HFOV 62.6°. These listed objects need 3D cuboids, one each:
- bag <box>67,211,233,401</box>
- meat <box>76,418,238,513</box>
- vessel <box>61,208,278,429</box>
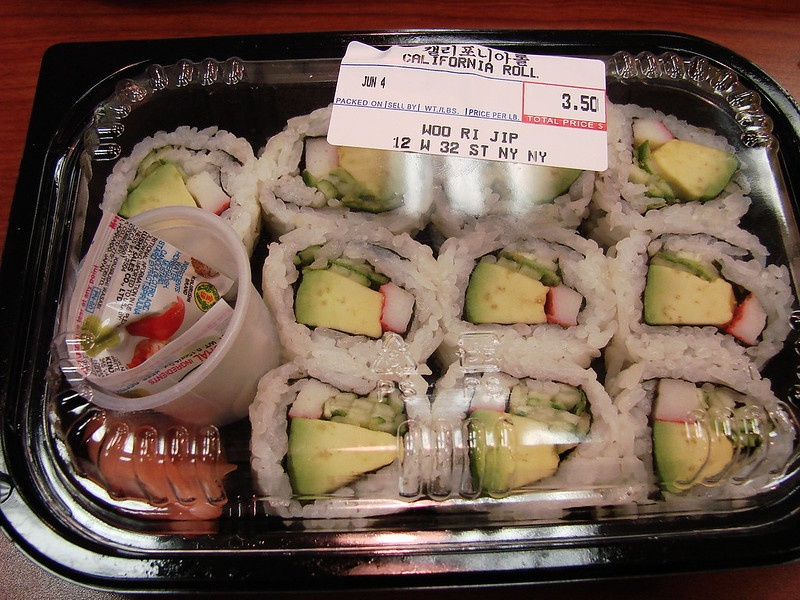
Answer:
[{"bbox_3d":[-0.570,0.039,1.456,0.347,0.121,0.342,28,81,5],"label":"bag"},{"bbox_3d":[-0.560,0.380,1.514,0.347,0.101,0.210,12,80,2],"label":"meat"},{"bbox_3d":[-0.546,0.088,1.559,0.505,0.368,0.495,-2,59,7],"label":"vessel"}]
